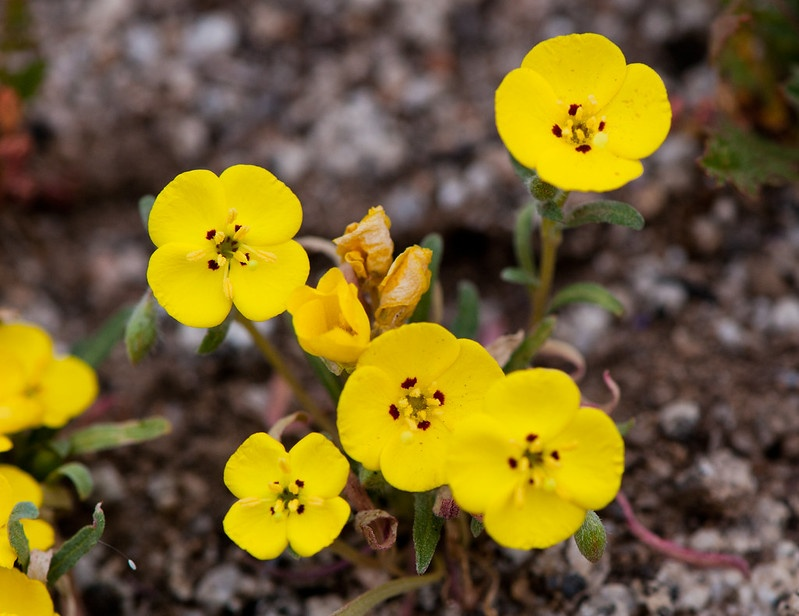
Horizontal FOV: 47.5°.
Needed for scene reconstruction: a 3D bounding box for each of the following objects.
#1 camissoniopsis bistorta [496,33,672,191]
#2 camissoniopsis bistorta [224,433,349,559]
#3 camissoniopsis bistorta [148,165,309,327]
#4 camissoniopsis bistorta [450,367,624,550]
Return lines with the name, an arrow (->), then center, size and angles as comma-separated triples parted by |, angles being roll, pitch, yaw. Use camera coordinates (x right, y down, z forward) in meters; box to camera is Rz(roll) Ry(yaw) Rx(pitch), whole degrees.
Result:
camissoniopsis bistorta -> 0.482, -0.637, 2.736 | 0.438, 0.521, 0.239 | -5, 93, -1
camissoniopsis bistorta -> -0.289, 0.490, 2.438 | 0.335, 0.407, 0.168 | 4, 108, 7
camissoniopsis bistorta -> -0.484, -0.177, 2.549 | 0.434, 0.104, 0.425 | -6, 80, 3
camissoniopsis bistorta -> 0.357, 0.408, 2.428 | 0.444, 0.159, 0.497 | -6, 88, -13
